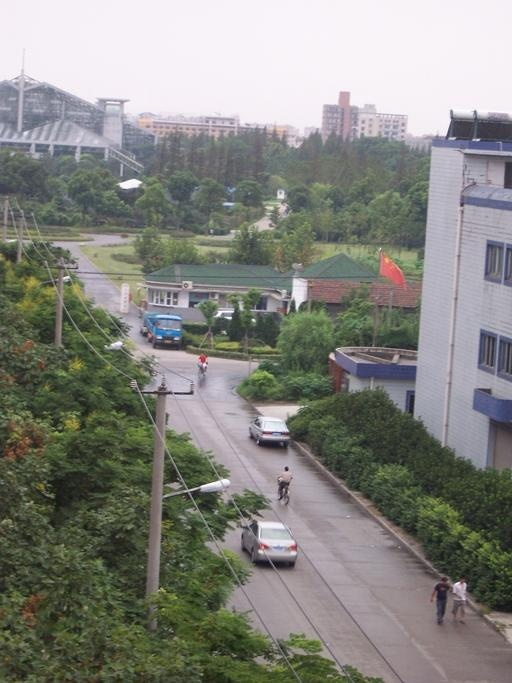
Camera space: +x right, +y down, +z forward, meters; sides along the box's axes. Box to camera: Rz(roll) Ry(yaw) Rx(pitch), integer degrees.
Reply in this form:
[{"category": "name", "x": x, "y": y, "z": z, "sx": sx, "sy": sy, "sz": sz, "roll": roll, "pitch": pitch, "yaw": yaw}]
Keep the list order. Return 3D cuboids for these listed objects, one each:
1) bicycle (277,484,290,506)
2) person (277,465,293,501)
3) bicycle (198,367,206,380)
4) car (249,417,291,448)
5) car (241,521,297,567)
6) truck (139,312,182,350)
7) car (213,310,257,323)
[{"category": "bicycle", "x": 0.984, "y": 5.353, "z": 46.905, "sx": 0.344, "sy": 0.441, "sz": 0.709, "roll": 1, "pitch": 0, "yaw": -9}, {"category": "person", "x": 0.993, "y": 4.901, "z": 47.104, "sx": 0.540, "sy": 0.716, "sz": 1.154, "roll": 2, "pitch": 11, "yaw": 0}, {"category": "bicycle", "x": -2.959, "y": 1.657, "z": 74.587, "sx": 0.340, "sy": 0.433, "sz": 0.697, "roll": 2, "pitch": 6, "yaw": 1}, {"category": "car", "x": 0.507, "y": 3.867, "z": 57.805, "sx": 0.881, "sy": 0.769, "sz": 1.838, "roll": 0, "pitch": 9, "yaw": -10}, {"category": "car", "x": 0.369, "y": 5.903, "z": 39.466, "sx": 1.259, "sy": 1.106, "sz": 1.850, "roll": 10, "pitch": 6, "yaw": -32}, {"category": "truck", "x": -6.088, "y": -0.625, "z": 86.600, "sx": 2.117, "sy": 2.359, "sz": 6.546, "roll": 1, "pitch": 3, "yaw": -11}, {"category": "car", "x": -1.642, "y": -1.498, "z": 94.550, "sx": 2.128, "sy": 1.213, "sz": 1.294, "roll": -4, "pitch": 7, "yaw": 13}]
